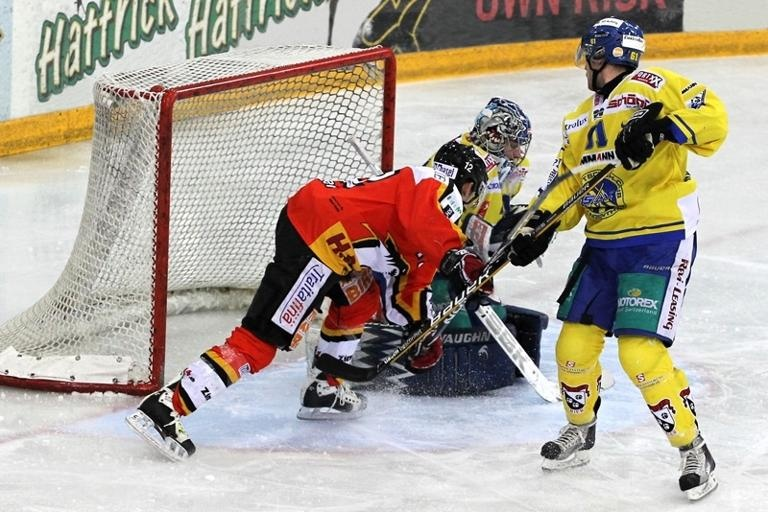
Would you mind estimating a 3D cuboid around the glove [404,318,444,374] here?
[{"bbox_3d":[0.169,0.385,3.894,0.211,0.210,0.086,7,18,-16],"label":"glove"}]

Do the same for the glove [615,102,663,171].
[{"bbox_3d":[0.938,-0.437,3.443,0.163,0.229,0.118,-2,16,14],"label":"glove"}]

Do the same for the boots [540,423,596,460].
[{"bbox_3d":[0.739,0.725,3.695,0.272,0.097,0.099,-3,23,-40],"label":"boots"}]

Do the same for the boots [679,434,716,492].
[{"bbox_3d":[1.162,0.785,3.459,0.130,0.217,0.132,-1,16,16],"label":"boots"}]

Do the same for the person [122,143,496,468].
[{"bbox_3d":[-0.295,0.152,3.769,1.796,1.053,0.741,-5,1,-36],"label":"person"}]

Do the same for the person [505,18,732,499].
[{"bbox_3d":[0.904,-0.023,3.630,0.806,1.772,0.828,-1,16,17],"label":"person"}]

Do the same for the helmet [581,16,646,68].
[{"bbox_3d":[0.908,-0.824,3.699,0.294,0.173,0.217,12,10,28],"label":"helmet"}]

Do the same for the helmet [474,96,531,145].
[{"bbox_3d":[0.595,-0.621,4.520,0.305,0.219,0.223,11,21,31],"label":"helmet"}]
